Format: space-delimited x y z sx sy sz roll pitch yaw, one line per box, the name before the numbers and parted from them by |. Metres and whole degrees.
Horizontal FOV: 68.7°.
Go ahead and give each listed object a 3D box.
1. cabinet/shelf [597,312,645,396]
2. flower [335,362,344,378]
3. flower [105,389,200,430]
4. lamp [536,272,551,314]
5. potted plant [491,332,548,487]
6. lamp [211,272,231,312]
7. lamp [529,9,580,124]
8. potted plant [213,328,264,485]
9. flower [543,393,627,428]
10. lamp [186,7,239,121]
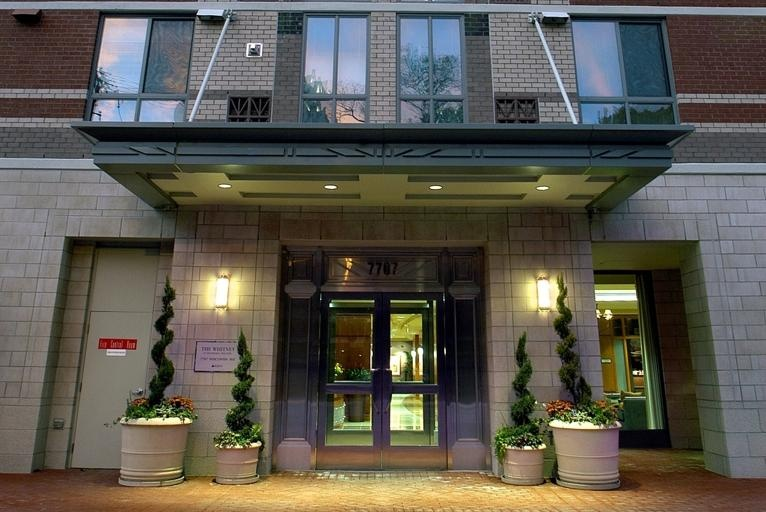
cabinet/shelf | 5.604 2.332 13.245 0.974 1.881 0.282 1 -2 -1
flower | -0.901 2.315 11.361 0.245 0.211 0.231 3 -10 0
flower | -4.301 2.818 10.292 1.285 0.414 1.219 -6 -14 27
lamp | 3.149 0.715 11.048 0.288 0.750 0.192 0 -2 9
potted plant | 2.584 2.816 10.472 0.957 2.714 0.664 1 -2 -24
lamp | -3.166 0.697 10.988 0.320 0.719 0.155 1 -2 -12
lamp | 3.548 -3.864 11.341 0.882 2.496 0.985 1 -2 -13
potted plant | -2.642 2.799 10.430 0.854 2.697 0.640 2 -2 -42
flower | 3.755 2.864 10.293 0.979 0.285 0.988 -7 -11 43
lamp | -3.580 -3.873 11.234 0.730 2.610 1.063 0 -2 7
